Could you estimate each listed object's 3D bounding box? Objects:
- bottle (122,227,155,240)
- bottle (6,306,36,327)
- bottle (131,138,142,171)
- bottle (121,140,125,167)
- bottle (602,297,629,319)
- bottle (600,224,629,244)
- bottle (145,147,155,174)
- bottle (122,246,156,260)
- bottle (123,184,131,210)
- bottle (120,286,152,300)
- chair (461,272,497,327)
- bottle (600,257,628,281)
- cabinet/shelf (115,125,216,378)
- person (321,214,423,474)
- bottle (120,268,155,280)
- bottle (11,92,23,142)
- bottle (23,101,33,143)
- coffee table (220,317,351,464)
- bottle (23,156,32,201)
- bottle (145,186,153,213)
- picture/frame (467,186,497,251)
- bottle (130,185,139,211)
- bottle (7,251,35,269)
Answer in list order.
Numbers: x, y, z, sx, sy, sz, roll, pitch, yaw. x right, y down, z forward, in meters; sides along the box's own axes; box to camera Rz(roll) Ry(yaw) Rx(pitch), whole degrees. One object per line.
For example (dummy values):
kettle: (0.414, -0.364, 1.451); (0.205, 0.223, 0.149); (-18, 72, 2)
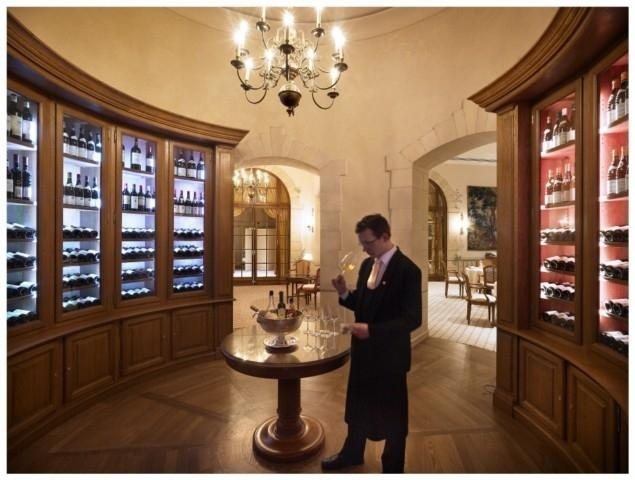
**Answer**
bottle: (-2.070, -0.071, 5.098); (0.372, 0.134, 0.134); (-9, 14, -42)
bottle: (-2.746, 0.716, 4.083); (0.121, 0.114, 0.262); (5, 12, 25)
bottle: (-2.089, -0.979, 5.085); (0.113, 0.352, 0.192); (-4, 11, -22)
bottle: (-2.169, -0.960, 4.971); (0.051, 0.283, 0.235); (-4, 11, -23)
bottle: (2.385, 0.559, 3.552); (0.162, 0.119, 0.153); (1, 10, 0)
bottle: (2.366, -0.028, 3.536); (0.155, 0.155, 0.199); (3, 11, 16)
bottle: (-1.946, -0.939, 5.162); (0.094, 0.308, 0.100); (0, 10, 0)
bottle: (-2.051, 0.161, 5.092); (0.363, 0.151, 0.135); (-6, 12, -31)
bottle: (-2.184, -0.493, 5.077); (0.095, 0.274, 0.269); (-4, 11, -22)
bottle: (-2.087, 0.617, 5.095); (0.157, 0.103, 0.375); (10, 15, 43)
chair: (2.786, 0.999, 7.618); (0.718, 1.147, 0.747); (0, -1, 16)
bottle: (2.413, 0.253, 3.544); (0.143, 0.162, 0.246); (-2, 11, -14)
cabinet/shelf: (-1.780, 0.096, 5.267); (1.262, 2.714, 0.727); (-6, 12, -34)
person: (0.453, 0.892, 3.559); (0.716, 2.164, 0.507); (3, 10, 16)
bottle: (-2.068, 0.397, 5.129); (0.349, 0.114, 0.168); (-5, 12, -26)
bottle: (-2.739, -1.119, 4.005); (0.103, 0.398, 0.130); (-5, 11, -29)
bottle: (-2.691, -1.111, 4.115); (0.083, 0.366, 0.110); (-4, 11, -22)
coffee table: (-0.297, 1.306, 3.839); (0.960, 0.786, 1.031); (-1, -1, -11)
bottle: (-2.693, -0.574, 4.119); (0.066, 0.383, 0.117); (-4, 11, -21)
bottle: (-1.978, -0.485, 5.195); (0.079, 0.282, 0.162); (-3, 10, -18)
picture/frame: (5.186, -0.655, 14.072); (0.907, 2.078, 0.448); (0, 10, -3)
bottle: (-2.112, -0.492, 5.133); (0.090, 0.291, 0.252); (-4, 11, -23)
bottle: (-2.730, 0.195, 4.070); (0.115, 0.143, 0.237); (5, 11, 23)
